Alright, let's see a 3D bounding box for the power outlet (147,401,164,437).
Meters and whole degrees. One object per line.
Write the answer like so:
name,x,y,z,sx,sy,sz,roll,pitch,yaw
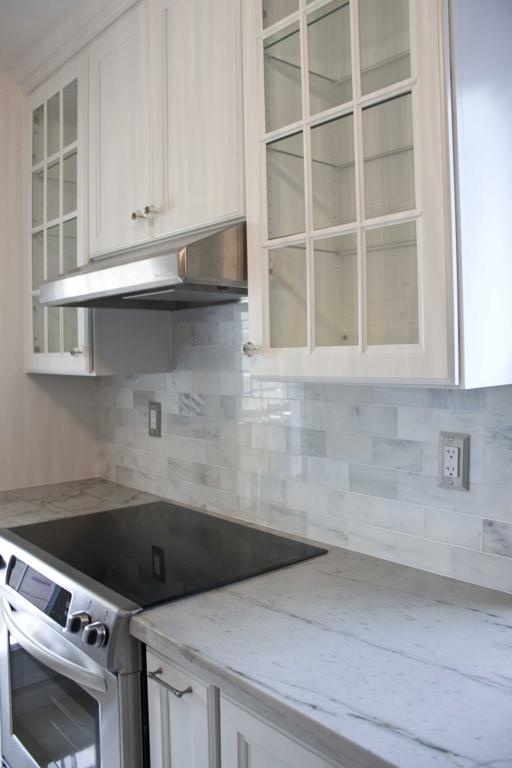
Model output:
power outlet,-0.342,0.120,2.061,0.016,0.172,0.114,0,0,-34
